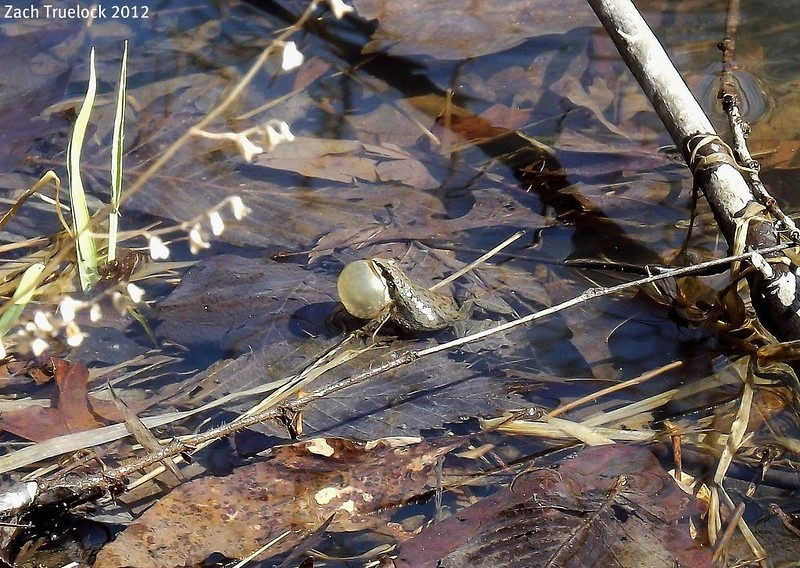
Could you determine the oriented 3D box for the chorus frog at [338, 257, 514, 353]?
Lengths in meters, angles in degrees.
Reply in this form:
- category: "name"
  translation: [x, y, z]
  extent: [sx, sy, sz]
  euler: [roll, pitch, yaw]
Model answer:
- category: "chorus frog"
  translation: [0.067, 0.051, 2.648]
  extent: [0.485, 0.250, 0.277]
  euler: [1, 28, 7]
